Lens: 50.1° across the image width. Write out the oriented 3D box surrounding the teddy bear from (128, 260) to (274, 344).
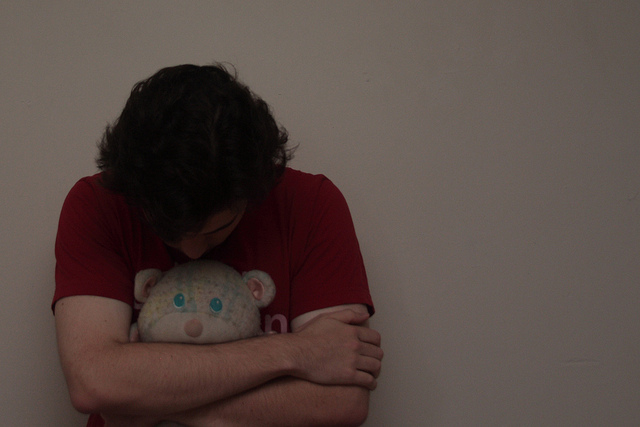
[{"bbox_3d":[-0.458,0.359,2.579,0.548,0.371,0.321,3,16,-5],"label":"teddy bear"}]
